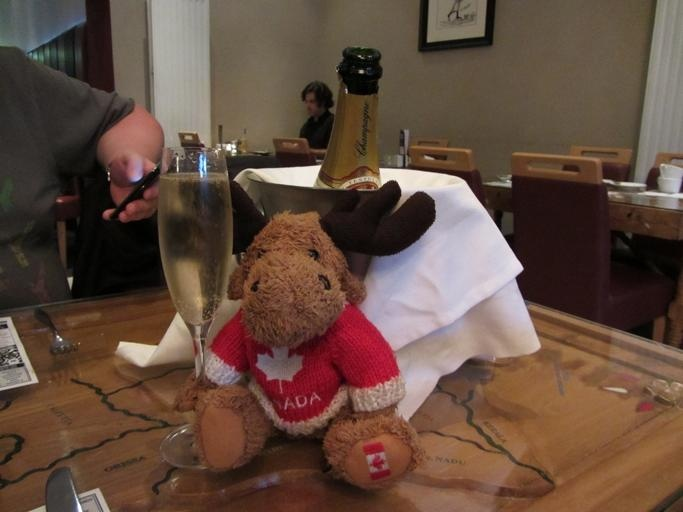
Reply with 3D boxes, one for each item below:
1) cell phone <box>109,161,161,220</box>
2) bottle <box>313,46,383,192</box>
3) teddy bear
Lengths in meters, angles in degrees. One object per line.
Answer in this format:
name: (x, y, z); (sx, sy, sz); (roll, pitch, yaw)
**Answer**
cell phone: (-0.301, -0.096, 0.778); (0.071, 0.084, 0.168); (-9, 22, -23)
bottle: (0.020, -0.147, 0.735); (0.095, 0.236, 0.082); (-10, 18, -39)
teddy bear: (-0.081, 0.120, 0.678); (0.356, 0.441, 0.255); (2, 7, 12)
